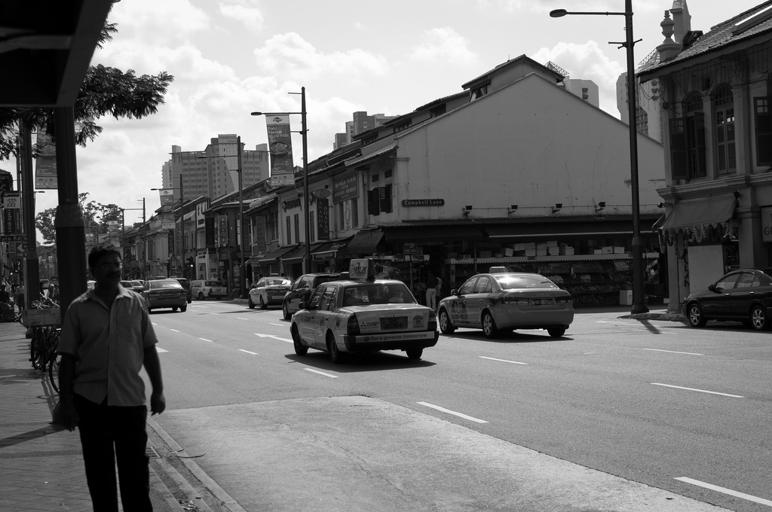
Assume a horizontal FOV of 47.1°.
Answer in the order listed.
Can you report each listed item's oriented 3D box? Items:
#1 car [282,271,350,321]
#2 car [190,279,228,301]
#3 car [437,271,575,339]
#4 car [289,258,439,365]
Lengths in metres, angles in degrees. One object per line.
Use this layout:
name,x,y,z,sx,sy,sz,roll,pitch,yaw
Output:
car,-3.113,1.541,35.834,1.769,1.621,3.112,-1,3,-22
car,-15.647,2.929,76.642,5.140,1.658,2.472,-3,-4,39
car,3.424,1.429,25.857,1.690,1.886,4.008,3,-4,-43
car,-0.719,1.408,21.358,1.827,1.728,3.392,1,-1,-23
